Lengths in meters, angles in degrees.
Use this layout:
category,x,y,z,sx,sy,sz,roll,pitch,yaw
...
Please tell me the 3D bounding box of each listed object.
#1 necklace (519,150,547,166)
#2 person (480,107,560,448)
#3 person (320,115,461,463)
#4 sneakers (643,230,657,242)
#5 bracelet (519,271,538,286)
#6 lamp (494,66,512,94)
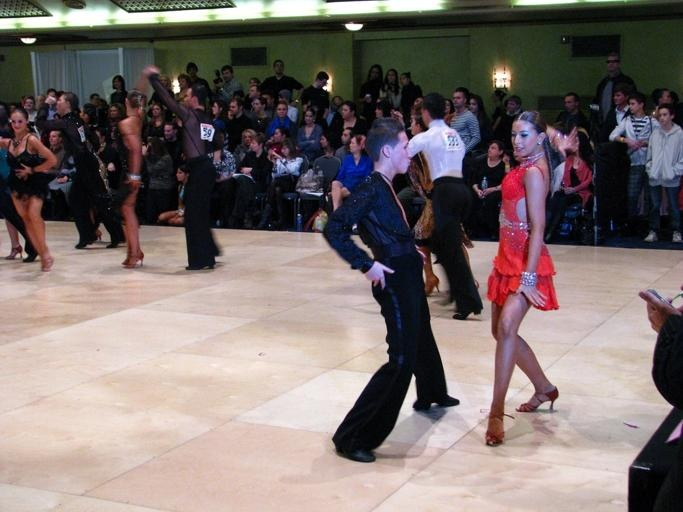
category,x,y,z,sx,sy,sz,roll,pitch,yaw
necklace,1.151,-0.589,3.404,0.107,0.040,0.096,-36,4,7
person,1.098,0.111,3.417,0.442,1.943,0.806,3,12,21
person,0.270,0.165,3.302,0.551,1.909,0.808,2,12,15
sneakers,5.217,-0.347,9.604,0.338,0.169,0.166,-11,15,-41
bracelet,1.079,0.128,3.269,0.082,0.065,0.083,2,-1,3
lamp,4.178,-4.687,14.840,0.488,0.653,0.145,2,12,16
